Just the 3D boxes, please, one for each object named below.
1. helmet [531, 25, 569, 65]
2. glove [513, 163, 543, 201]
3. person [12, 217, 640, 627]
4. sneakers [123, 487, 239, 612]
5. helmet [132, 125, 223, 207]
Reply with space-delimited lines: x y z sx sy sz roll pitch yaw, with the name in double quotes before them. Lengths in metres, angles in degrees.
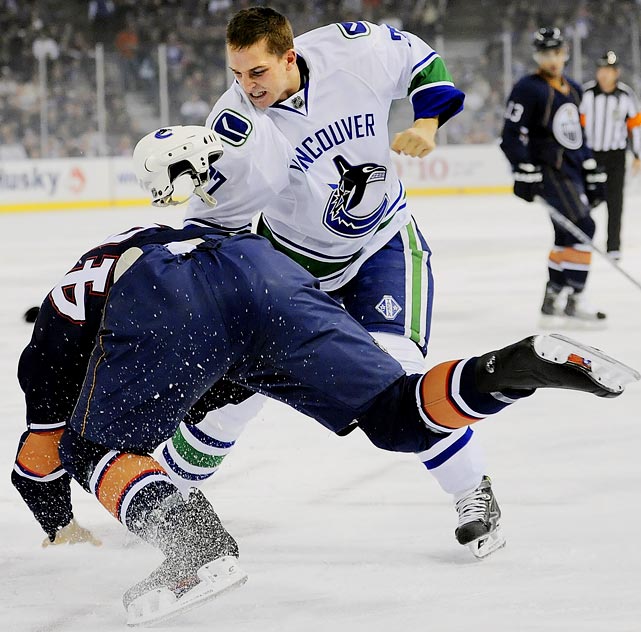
"helmet" 1.223 -1.493 5.838 0.254 0.272 0.135 -1 -19 8
"glove" 1.093 -0.718 5.738 0.156 0.205 0.163 0 10 18
"person" -0.072 0.200 2.323 1.609 0.782 0.520 -5 -3 27
"sneakers" -0.288 0.486 2.222 0.253 0.253 0.111 -6 10 -18
"helmet" -0.313 -0.317 2.359 0.207 0.160 0.161 -14 7 -7
